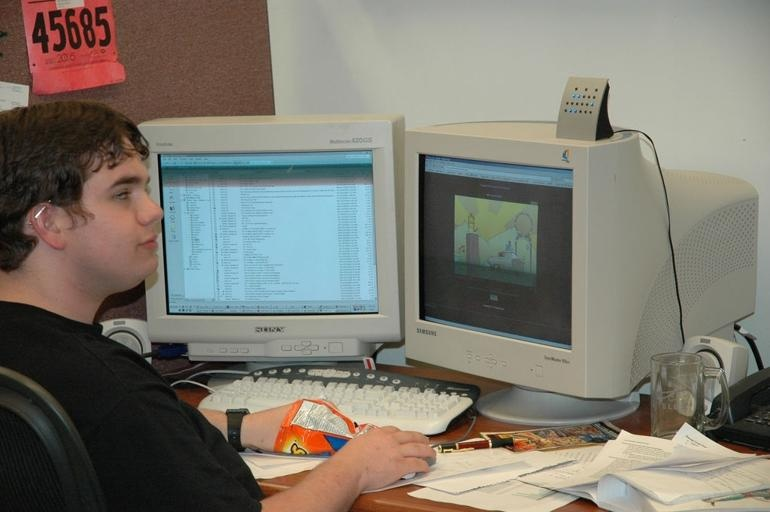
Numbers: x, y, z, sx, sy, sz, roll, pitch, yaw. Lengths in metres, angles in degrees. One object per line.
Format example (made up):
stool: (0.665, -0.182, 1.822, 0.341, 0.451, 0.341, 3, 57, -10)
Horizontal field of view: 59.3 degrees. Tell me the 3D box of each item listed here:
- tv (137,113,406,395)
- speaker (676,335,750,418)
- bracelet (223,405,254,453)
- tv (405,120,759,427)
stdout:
tv: (-0.402, -0.017, 1.869, 0.749, 0.611, 0.413, -2, -1, -38)
speaker: (0.731, 0.264, 1.536, 0.104, 0.172, 0.121, 4, 10, -40)
bracelet: (-0.324, 0.375, 1.488, 0.064, 0.089, 0.090, -2, 3, -3)
tv: (0.545, 0.032, 1.784, 0.802, 0.649, 0.656, -8, 11, -35)
